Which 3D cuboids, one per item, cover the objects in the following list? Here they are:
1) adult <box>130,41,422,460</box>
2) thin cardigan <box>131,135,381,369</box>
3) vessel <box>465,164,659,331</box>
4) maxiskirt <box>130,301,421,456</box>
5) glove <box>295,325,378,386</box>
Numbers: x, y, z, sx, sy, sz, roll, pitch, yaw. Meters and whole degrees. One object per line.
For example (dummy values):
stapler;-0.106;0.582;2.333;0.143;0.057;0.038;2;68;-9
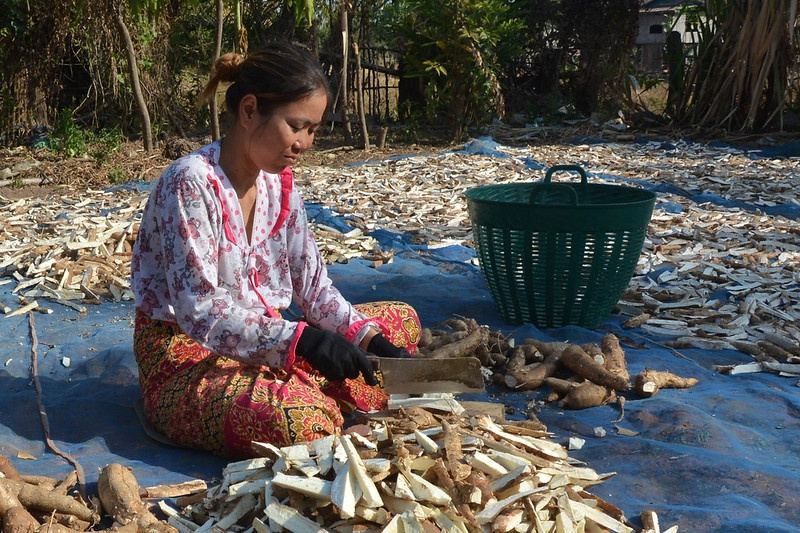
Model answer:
adult;-0.588;-0.060;3.292;1.248;1.892;0.848;-3;17;-19
thin cardigan;-0.769;-0.143;3.613;1.433;0.791;0.958;17;13;19
vessel;0.833;-0.007;4.686;1.307;0.804;1.306;-1;-3;27
maxiskirt;-0.713;0.569;3.398;0.880;0.374;1.096;-2;4;13
glove;-0.271;0.417;3.339;0.400;0.194;0.147;31;7;-2
